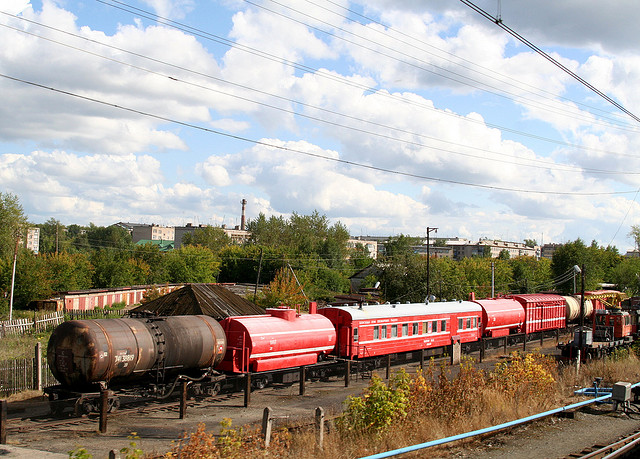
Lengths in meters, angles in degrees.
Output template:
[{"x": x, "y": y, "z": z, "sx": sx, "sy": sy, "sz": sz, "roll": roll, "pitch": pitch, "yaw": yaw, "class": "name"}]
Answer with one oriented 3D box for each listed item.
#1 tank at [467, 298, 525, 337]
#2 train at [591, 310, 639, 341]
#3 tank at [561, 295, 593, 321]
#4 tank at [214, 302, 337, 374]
[{"x": 14.107, "y": 7.112, "z": 53.833, "sx": 4.839, "sy": 3.034, "sz": 2.468, "roll": 1, "pitch": 0, "yaw": -38, "class": "tank"}, {"x": 23.581, "y": 7.719, "z": 53.309, "sx": 1.885, "sy": 2.930, "sz": 5.982, "roll": 1, "pitch": 2, "yaw": 41, "class": "train"}, {"x": 23.535, "y": 7.184, "z": 61.215, "sx": 3.685, "sy": 1.696, "sz": 1.981, "roll": 3, "pitch": 1, "yaw": -43, "class": "tank"}, {"x": -2.357, "y": 6.116, "z": 39.195, "sx": 2.227, "sy": 3.952, "sz": 7.810, "roll": -1, "pitch": -4, "yaw": 40, "class": "tank"}]
